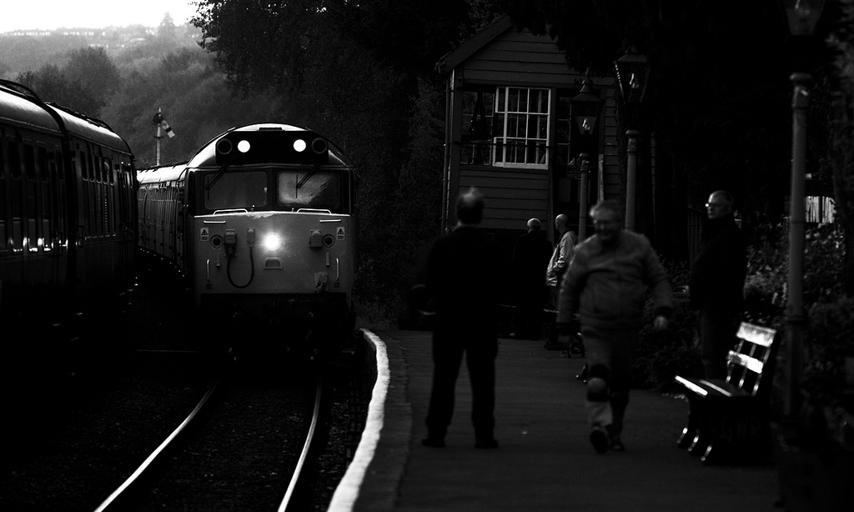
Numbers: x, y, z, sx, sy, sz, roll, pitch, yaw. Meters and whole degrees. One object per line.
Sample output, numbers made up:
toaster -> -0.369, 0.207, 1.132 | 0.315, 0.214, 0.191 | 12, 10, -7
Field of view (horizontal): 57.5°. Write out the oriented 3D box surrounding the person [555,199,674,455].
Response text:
person -> 1.931, 0.707, 7.913 | 1.076, 2.436, 0.979 | -1, 2, 8

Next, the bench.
bench -> 3.141, 1.439, 8.063 | 0.887, 1.547, 1.231 | 2, 1, -10

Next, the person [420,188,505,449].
person -> 0.391, 0.634, 8.365 | 0.836, 2.741, 0.471 | 1, 2, 0

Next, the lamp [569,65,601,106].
lamp -> 3.577, -3.782, 17.217 | 0.629, 0.532, 0.619 | -11, 18, -38

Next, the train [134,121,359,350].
train -> -3.555, -0.491, 16.611 | 1.950, 2.835, 10.196 | 0, -1, -7

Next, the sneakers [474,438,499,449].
sneakers -> 0.647, 1.953, 8.256 | 0.258, 0.114, 0.185 | 2, 3, 3
